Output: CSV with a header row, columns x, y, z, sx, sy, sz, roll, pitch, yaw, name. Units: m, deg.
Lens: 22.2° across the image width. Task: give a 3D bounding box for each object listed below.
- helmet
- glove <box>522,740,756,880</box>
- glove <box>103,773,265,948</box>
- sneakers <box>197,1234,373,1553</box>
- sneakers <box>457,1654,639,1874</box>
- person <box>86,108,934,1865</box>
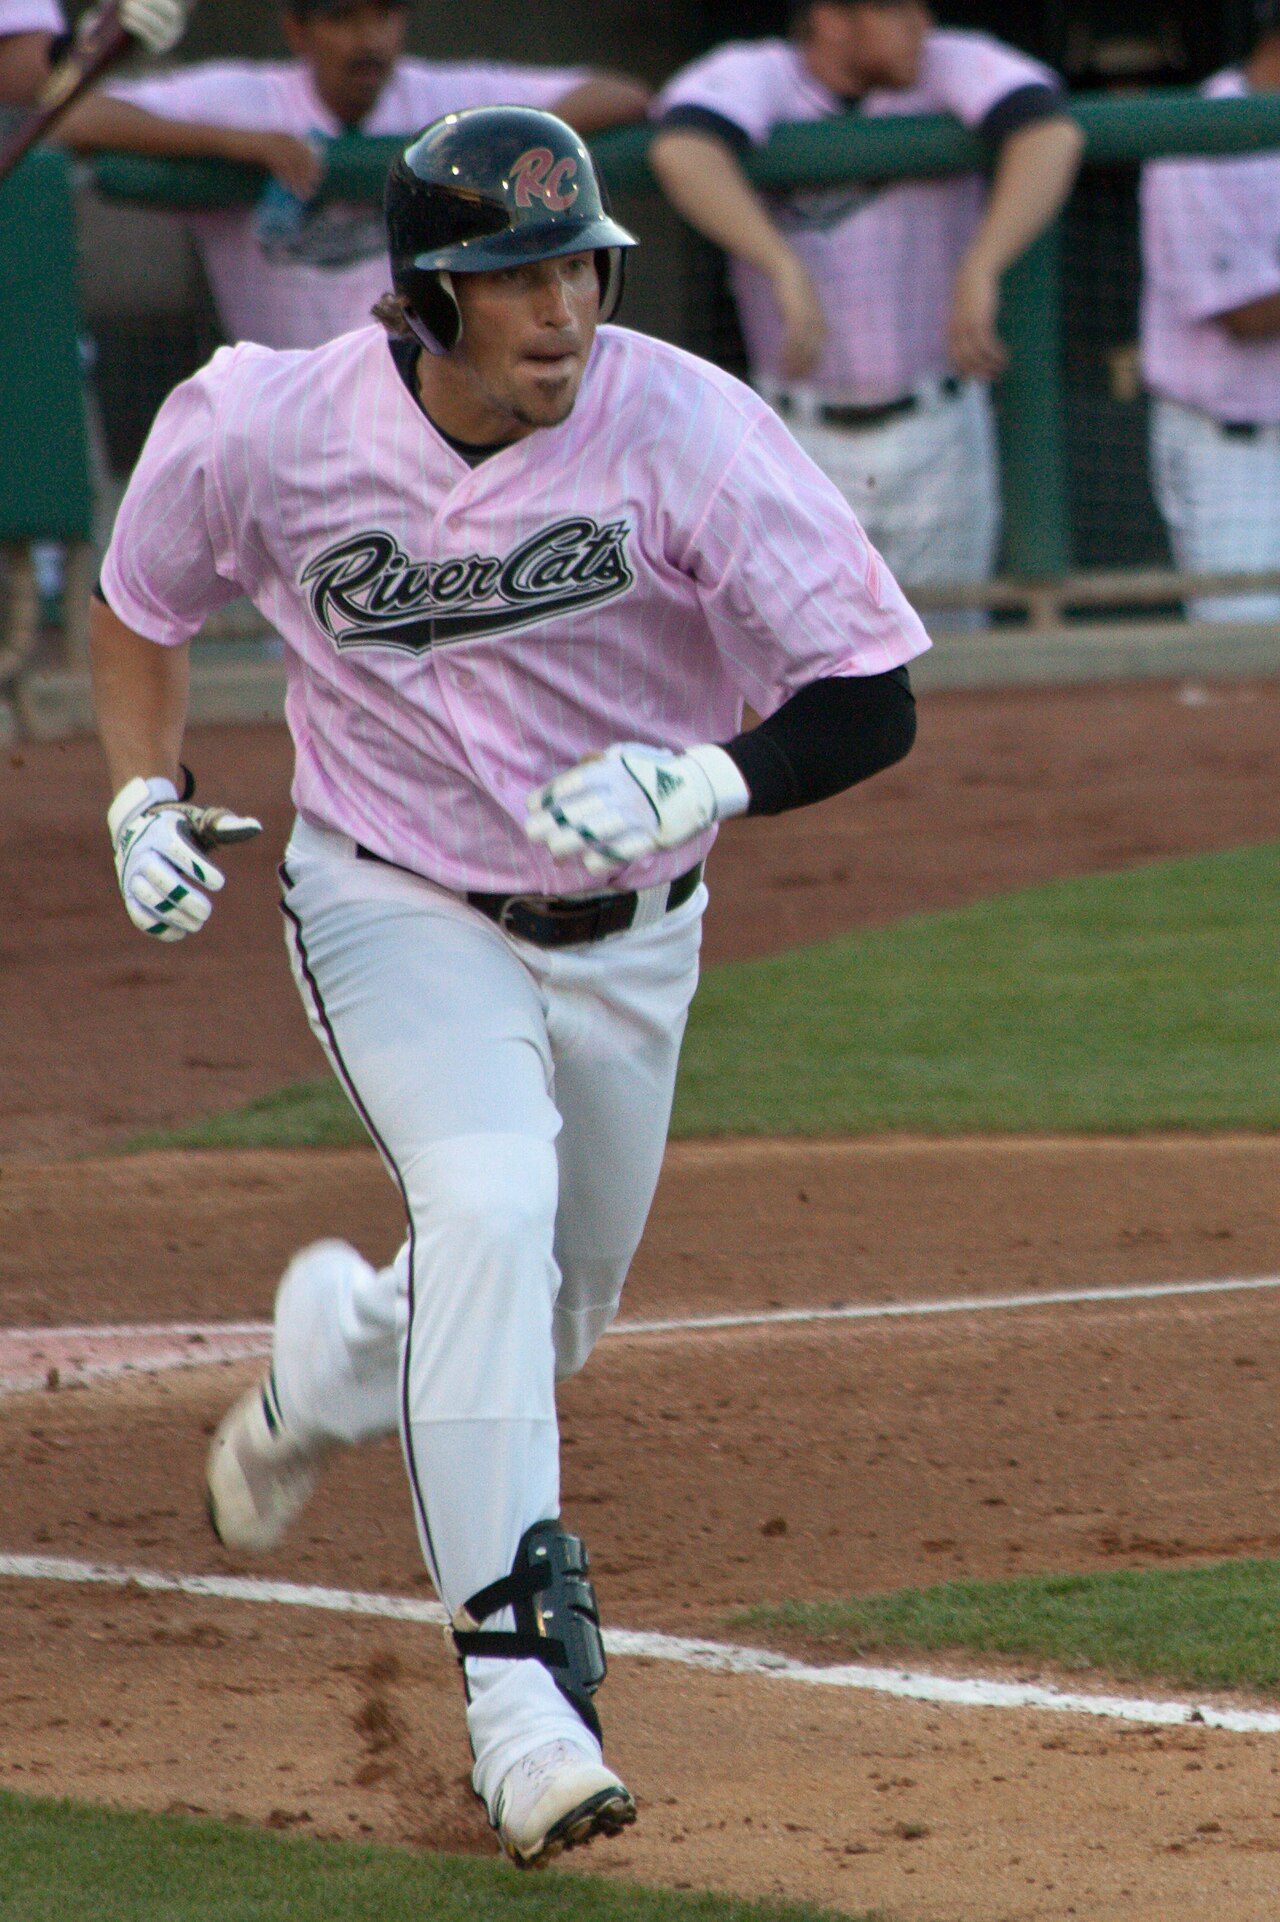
x,y,z,sx,sy,sz,roll,pitch,yaw,name
-0.137,-0.739,3.262,0.236,0.220,0.276,-19,30,-33,helmet
0.001,-0.145,3.052,0.189,0.050,0.108,-19,59,-39,glove
-0.469,-0.098,3.411,0.138,0.069,0.198,-36,41,5,glove
-0.393,0.485,3.577,0.141,0.419,0.158,34,57,8,sneakers
-0.091,0.726,3.038,0.128,0.158,0.367,-11,2,-11,sneakers
-0.079,-0.057,3.274,0.615,1.569,1.080,-8,15,-25,person
